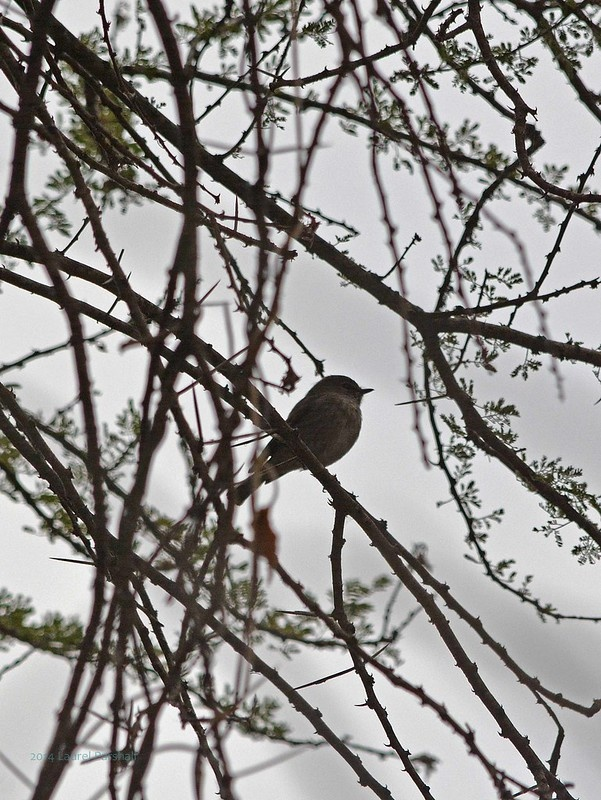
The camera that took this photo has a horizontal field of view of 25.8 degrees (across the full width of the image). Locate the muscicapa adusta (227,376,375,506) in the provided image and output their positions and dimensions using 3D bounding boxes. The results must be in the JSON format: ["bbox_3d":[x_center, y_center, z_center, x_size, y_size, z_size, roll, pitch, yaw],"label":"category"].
[{"bbox_3d":[0.131,0.131,8.392,1.148,0.421,0.534,-32,63,2],"label":"muscicapa adusta"}]
